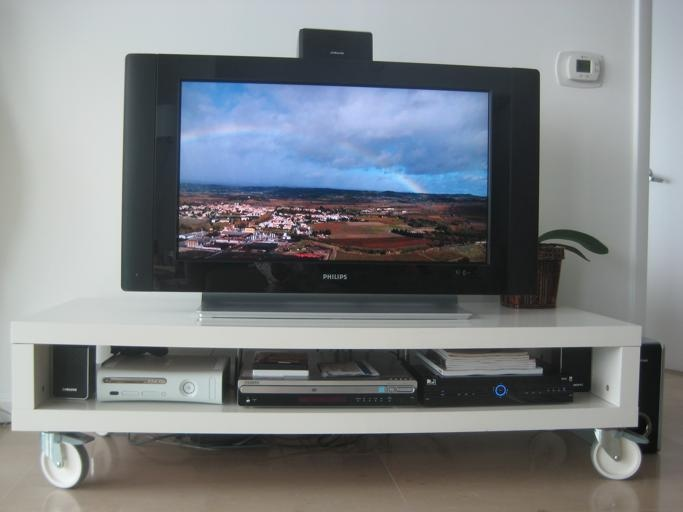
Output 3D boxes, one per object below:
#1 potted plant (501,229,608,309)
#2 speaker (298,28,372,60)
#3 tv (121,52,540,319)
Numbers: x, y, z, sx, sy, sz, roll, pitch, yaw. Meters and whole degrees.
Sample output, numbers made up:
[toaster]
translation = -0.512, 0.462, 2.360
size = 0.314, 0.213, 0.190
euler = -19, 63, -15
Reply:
[potted plant]
translation = 0.821, 0.042, 2.450
size = 0.468, 0.330, 0.297
euler = 1, -1, -4
[speaker]
translation = -0.028, -0.817, 2.334
size = 0.258, 0.103, 0.165
euler = 1, 3, -3
[tv]
translation = -0.030, -0.296, 2.255
size = 1.554, 0.857, 0.234
euler = 0, 16, -4
